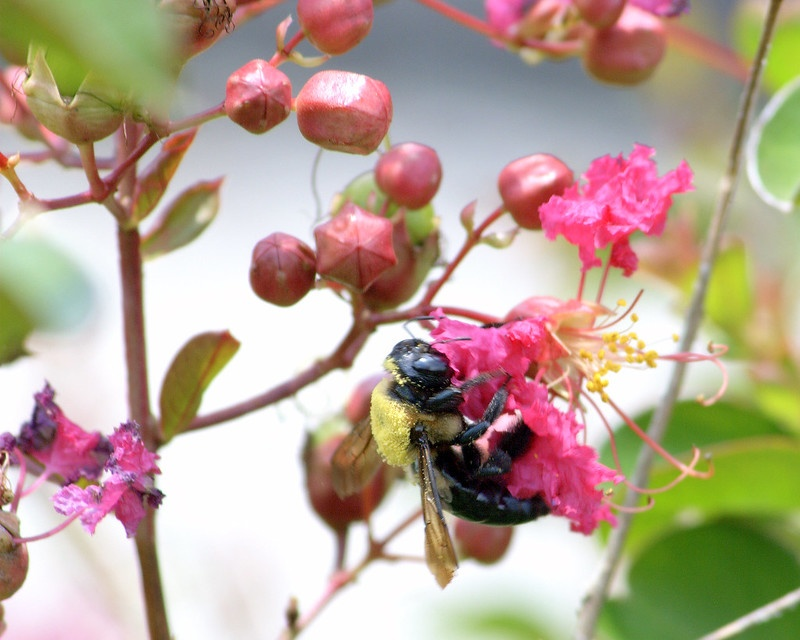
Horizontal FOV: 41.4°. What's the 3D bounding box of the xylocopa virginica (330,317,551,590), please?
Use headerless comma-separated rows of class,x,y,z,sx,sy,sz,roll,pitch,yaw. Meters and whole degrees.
xylocopa virginica,0.078,0.124,1.515,0.112,0.385,0.256,-20,-10,-35
